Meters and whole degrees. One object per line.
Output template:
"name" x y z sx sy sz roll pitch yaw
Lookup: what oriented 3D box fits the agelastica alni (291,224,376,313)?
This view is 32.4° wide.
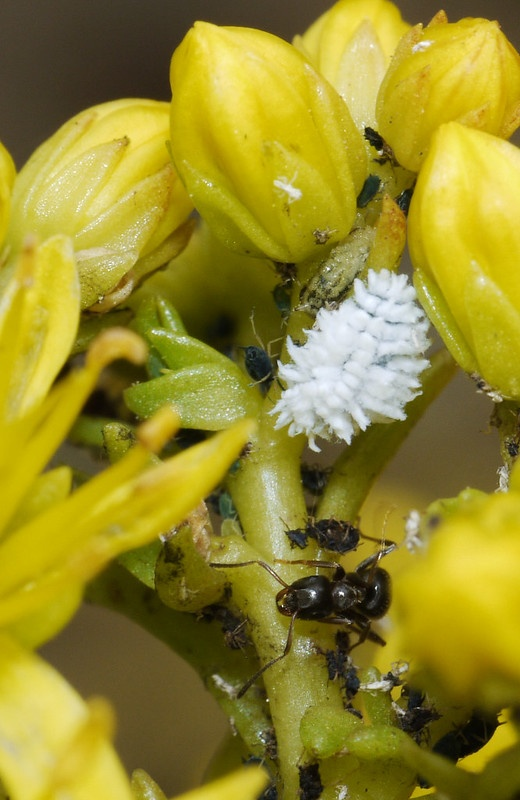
"agelastica alni" 0.038 -0.062 0.437 0.020 0.021 0.054 38 105 23

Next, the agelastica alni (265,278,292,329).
"agelastica alni" 0.013 -0.055 0.509 0.009 0.027 0.020 9 47 4

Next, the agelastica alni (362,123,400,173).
"agelastica alni" 0.062 -0.127 0.459 0.019 0.020 0.006 1 52 57
